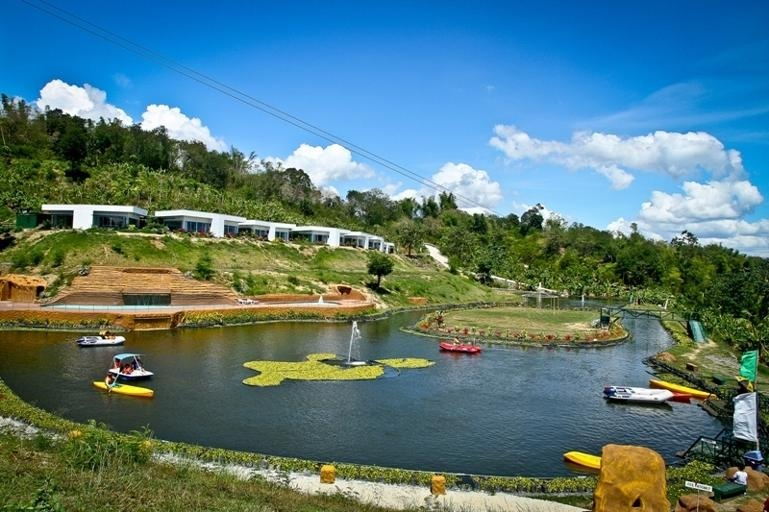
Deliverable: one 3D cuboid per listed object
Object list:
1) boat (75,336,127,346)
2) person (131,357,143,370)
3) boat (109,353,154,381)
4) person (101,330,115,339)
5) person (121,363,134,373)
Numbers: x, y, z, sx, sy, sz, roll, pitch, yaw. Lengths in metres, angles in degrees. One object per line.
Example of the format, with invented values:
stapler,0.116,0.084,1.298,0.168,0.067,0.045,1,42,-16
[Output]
boat,-33.240,9.902,67.109,3.383,0.718,1.832,2,1,-19
person,-25.113,10.832,58.043,0.836,1.264,1.267,8,4,15
boat,-25.367,10.948,56.777,4.320,1.796,2.417,2,1,33
person,-33.066,9.432,68.856,1.350,0.691,1.784,5,-7,2
person,-25.609,11.153,57.102,0.932,0.475,1.450,1,2,-16
